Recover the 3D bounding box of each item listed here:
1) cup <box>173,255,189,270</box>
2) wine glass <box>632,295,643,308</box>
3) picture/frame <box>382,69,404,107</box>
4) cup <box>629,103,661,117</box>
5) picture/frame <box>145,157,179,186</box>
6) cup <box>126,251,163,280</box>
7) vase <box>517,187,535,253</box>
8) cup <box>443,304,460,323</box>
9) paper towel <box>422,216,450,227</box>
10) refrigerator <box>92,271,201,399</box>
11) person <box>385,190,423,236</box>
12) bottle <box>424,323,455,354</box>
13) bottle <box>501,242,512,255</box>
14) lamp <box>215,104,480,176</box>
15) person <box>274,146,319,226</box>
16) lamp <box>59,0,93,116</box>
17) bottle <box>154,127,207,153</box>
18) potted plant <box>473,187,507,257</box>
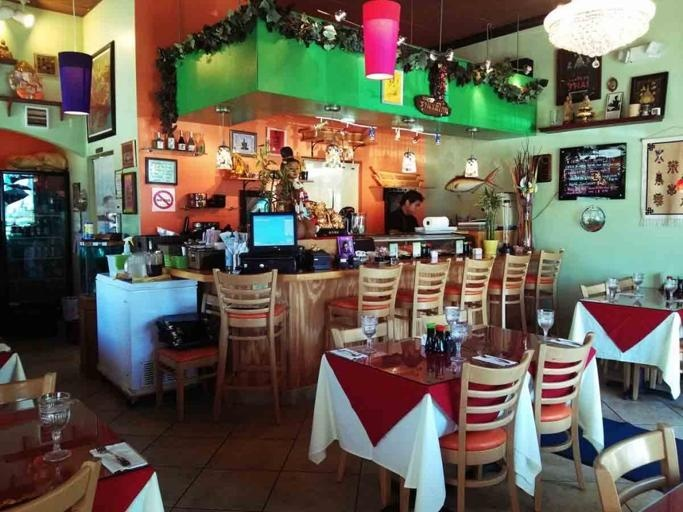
[{"bbox_3d":[-1.697,0.064,5.592,0.128,0.083,0.129,3,9,0],"label":"cup"},{"bbox_3d":[2.922,0.454,5.250,0.073,0.083,0.070,-9,12,-38],"label":"wine glass"},{"bbox_3d":[0.649,-2.117,6.634,0.393,0.440,0.065,-10,14,-44],"label":"picture/frame"},{"bbox_3d":[3.886,-1.857,6.783,0.148,0.195,0.364,-3,10,-32],"label":"cup"},{"bbox_3d":[-2.398,-1.128,7.026,0.040,0.333,0.375,5,6,44],"label":"picture/frame"},{"bbox_3d":[-2.014,0.107,5.468,0.211,0.296,0.378,2,2,26],"label":"cup"},{"bbox_3d":[2.709,-0.537,7.754,0.289,0.918,0.257,-2,10,-8],"label":"vase"},{"bbox_3d":[0.842,0.428,3.957,0.129,0.157,0.135,0,3,0],"label":"cup"},{"bbox_3d":[1.288,-0.453,7.212,0.376,0.141,0.133,-5,11,-24],"label":"paper towel"},{"bbox_3d":[-2.194,0.379,5.703,0.938,1.622,1.659,-2,4,-31],"label":"refrigerator"},{"bbox_3d":[1.263,-0.872,10.271,0.768,0.799,0.277,-8,12,-34],"label":"person"},{"bbox_3d":[0.685,0.581,3.718,0.242,0.240,0.135,12,-16,-39],"label":"bottle"},{"bbox_3d":[2.343,-0.109,7.469,0.155,0.118,0.156,-1,6,0],"label":"bottle"},{"bbox_3d":[0.091,-1.793,8.800,2.371,0.938,5.043,4,11,24],"label":"lamp"},{"bbox_3d":[-0.503,-0.770,6.004,0.410,0.922,0.757,-1,10,-3],"label":"person"},{"bbox_3d":[-2.507,-1.655,5.034,0.278,0.576,0.221,-5,11,-25],"label":"lamp"},{"bbox_3d":[-2.149,-1.541,7.091,0.848,0.363,0.243,-10,14,-41],"label":"bottle"},{"bbox_3d":[2.199,-0.564,7.859,0.342,0.877,1.724,2,11,14],"label":"potted plant"}]
